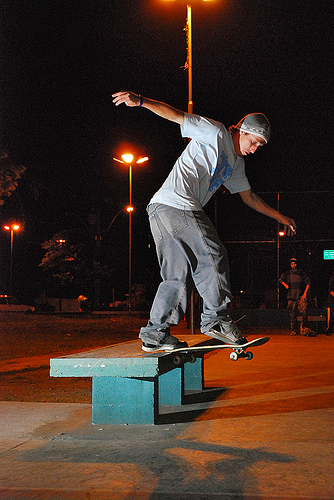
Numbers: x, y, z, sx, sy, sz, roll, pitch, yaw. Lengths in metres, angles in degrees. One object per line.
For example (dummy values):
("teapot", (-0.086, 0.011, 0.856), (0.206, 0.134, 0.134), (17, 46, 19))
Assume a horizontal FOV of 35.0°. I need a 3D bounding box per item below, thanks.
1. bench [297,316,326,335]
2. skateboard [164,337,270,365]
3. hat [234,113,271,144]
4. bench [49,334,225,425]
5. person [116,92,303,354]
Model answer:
("bench", (4.123, 2.191, 15.230), (0.667, 0.458, 0.380), (-3, -6, 36))
("skateboard", (0.361, 0.701, 3.670), (1.095, 0.171, 0.254), (-5, -11, 12))
("hat", (0.628, -0.889, 3.816), (0.247, 0.194, 0.191), (1, 2, 44))
("bench", (-0.175, 1.025, 4.202), (0.886, 0.574, 1.738), (0, -7, 12))
("person", (0.192, -0.117, 3.849), (1.015, 1.712, 0.776), (2, -7, -6))
